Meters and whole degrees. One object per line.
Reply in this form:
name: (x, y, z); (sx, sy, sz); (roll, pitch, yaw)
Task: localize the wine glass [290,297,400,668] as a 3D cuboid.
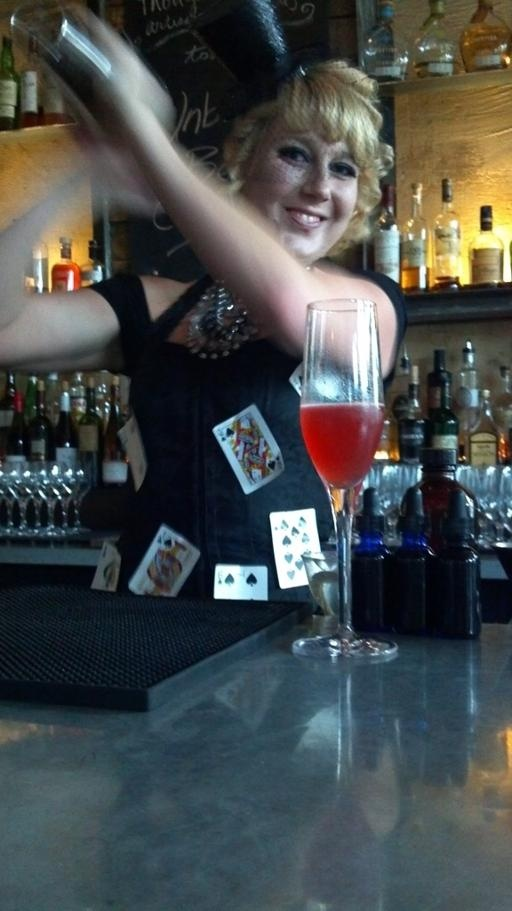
wine glass: (0.073, 0.016, 0.585); (0.081, 0.272, 0.135); (1, -4, 4)

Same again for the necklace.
necklace: (-0.046, -0.230, 1.262); (0.132, 0.100, 0.044); (-36, -31, -5)

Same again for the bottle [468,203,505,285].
bottle: (0.805, -0.718, 2.522); (0.121, 0.349, 0.304); (0, -5, 17)

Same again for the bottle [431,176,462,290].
bottle: (0.679, -0.786, 2.577); (0.098, 0.472, 0.289); (0, -5, 14)
